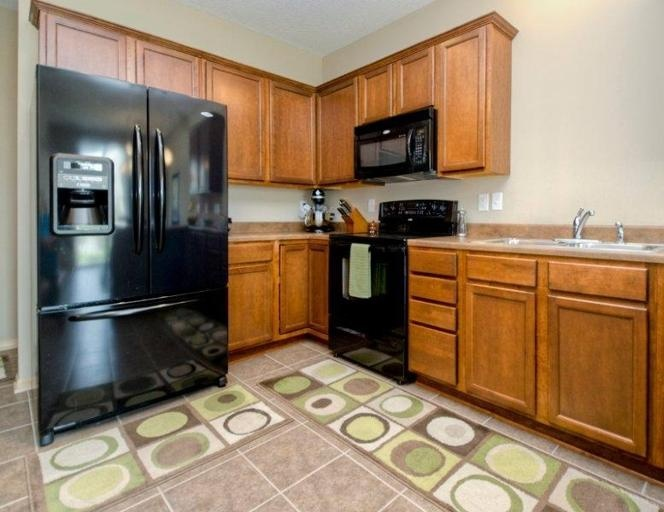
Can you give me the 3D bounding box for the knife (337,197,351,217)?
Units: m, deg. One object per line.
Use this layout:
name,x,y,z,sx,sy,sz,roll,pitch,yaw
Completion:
knife,0.112,-0.459,4.223,0.161,0.161,0.040,-23,14,-37

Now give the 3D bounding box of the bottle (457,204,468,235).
bottle,1.015,-0.278,3.517,0.081,0.216,0.163,1,9,16

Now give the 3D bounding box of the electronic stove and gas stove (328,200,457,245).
electronic stove and gas stove,0.651,-0.324,3.703,0.741,0.281,0.324,2,9,24

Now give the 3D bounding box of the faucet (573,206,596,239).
faucet,1.612,-0.209,2.908,0.117,0.192,0.269,3,9,29

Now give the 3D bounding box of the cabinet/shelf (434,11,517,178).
cabinet/shelf,1.017,-1.113,3.242,0.558,1.051,0.310,1,9,18

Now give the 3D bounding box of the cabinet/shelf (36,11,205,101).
cabinet/shelf,-1.491,-1.372,3.136,1.118,0.611,0.190,1,-4,-36

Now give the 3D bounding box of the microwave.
microwave,0.498,-0.855,3.551,0.461,0.514,0.839,1,-1,-39

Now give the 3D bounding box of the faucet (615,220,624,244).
faucet,1.775,-0.152,2.788,0.053,0.128,0.241,4,10,32

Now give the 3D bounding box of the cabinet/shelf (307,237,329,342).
cabinet/shelf,-0.110,0.265,3.968,0.088,0.876,0.280,-6,10,-31

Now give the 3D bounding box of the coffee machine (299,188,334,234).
coffee machine,-0.141,-0.462,4.506,0.338,0.426,0.425,-2,8,-6

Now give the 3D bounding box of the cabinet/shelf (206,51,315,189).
cabinet/shelf,-0.691,-1.086,4.091,1.120,0.975,0.382,-3,3,-41
